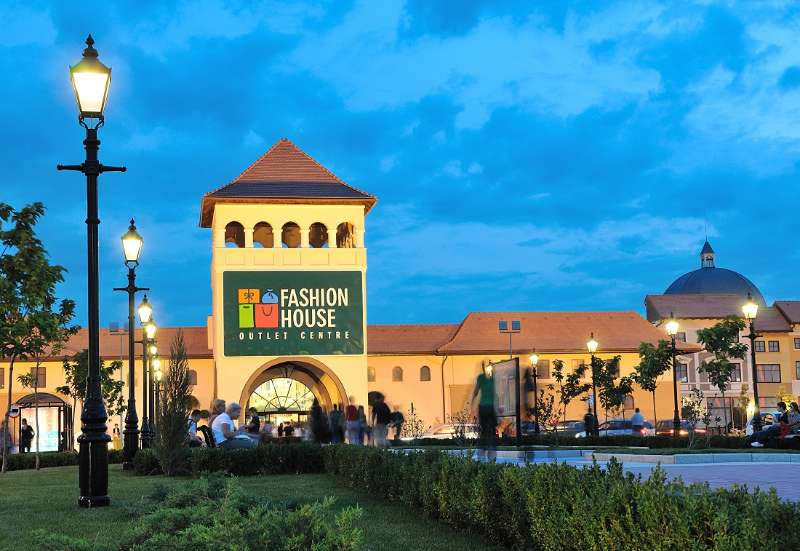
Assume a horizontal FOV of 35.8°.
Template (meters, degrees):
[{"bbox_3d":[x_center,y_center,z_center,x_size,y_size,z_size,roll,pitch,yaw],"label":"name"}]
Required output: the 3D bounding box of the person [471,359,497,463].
[{"bbox_3d":[2.636,3.875,36.244,0.839,2.830,1.041,6,-11,-44],"label":"person"}]

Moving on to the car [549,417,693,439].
[{"bbox_3d":[10.868,7.570,61.032,6.598,2.067,2.952,-2,-7,0],"label":"car"}]
